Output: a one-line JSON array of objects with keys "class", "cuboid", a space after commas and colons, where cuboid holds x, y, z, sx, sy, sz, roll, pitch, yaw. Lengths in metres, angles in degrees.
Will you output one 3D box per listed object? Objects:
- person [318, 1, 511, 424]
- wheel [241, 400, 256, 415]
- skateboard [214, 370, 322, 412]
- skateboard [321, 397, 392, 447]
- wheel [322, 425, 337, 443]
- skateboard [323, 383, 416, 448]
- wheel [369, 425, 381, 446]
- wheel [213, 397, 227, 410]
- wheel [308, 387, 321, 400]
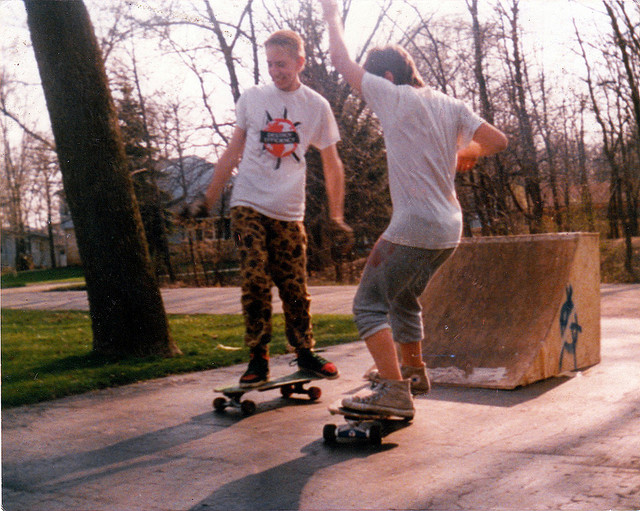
[{"class": "person", "cuboid": [0.538, -0.243, 3.792, 1.010, 2.542, 0.446, -3, 5, -6]}, {"class": "wheel", "cuboid": [-0.465, 1.002, 4.211, 0.118, 0.097, 0.079, -6, 6, -38]}, {"class": "skateboard", "cuboid": [-0.349, 0.879, 4.394, 0.719, 0.170, 0.284, -5, 5, -33]}, {"class": "skateboard", "cuboid": [0.217, 0.959, 3.681, 0.401, 0.228, 0.275, -2, 5, 3]}, {"class": "wheel", "cuboid": [0.058, 1.013, 3.590, 0.062, 0.104, 0.111, 1, 4, 17]}, {"class": "skateboard", "cuboid": [0.262, 0.921, 3.690, 0.526, 0.300, 0.374, -3, 5, -13]}, {"class": "wheel", "cuboid": [0.318, 1.009, 3.559, 0.057, 0.097, 0.102, -5, -20, 15]}, {"class": "wheel", "cuboid": [-0.684, 0.999, 4.275, 0.083, 0.086, 0.045, -3, 5, -10]}, {"class": "wheel", "cuboid": [-0.037, 0.971, 4.469, 0.083, 0.075, 0.082, -2, 10, 0]}]
